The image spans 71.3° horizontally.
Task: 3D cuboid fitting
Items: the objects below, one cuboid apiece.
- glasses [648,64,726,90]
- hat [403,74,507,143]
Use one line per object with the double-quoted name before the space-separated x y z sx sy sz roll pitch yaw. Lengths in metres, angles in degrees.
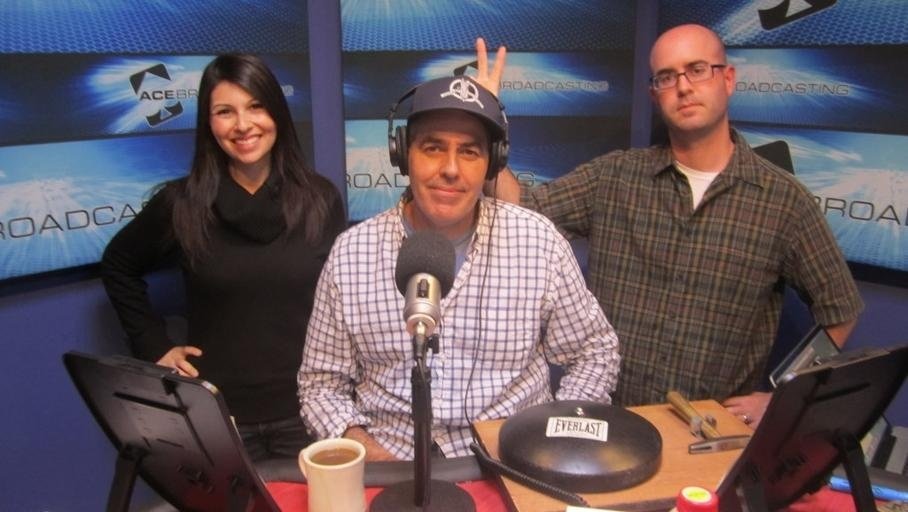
"glasses" 1.254 -0.960 3.400 0.373 0.143 0.121 5 17 15
"hat" 0.012 -0.655 2.846 0.568 0.229 0.610 2 22 2
